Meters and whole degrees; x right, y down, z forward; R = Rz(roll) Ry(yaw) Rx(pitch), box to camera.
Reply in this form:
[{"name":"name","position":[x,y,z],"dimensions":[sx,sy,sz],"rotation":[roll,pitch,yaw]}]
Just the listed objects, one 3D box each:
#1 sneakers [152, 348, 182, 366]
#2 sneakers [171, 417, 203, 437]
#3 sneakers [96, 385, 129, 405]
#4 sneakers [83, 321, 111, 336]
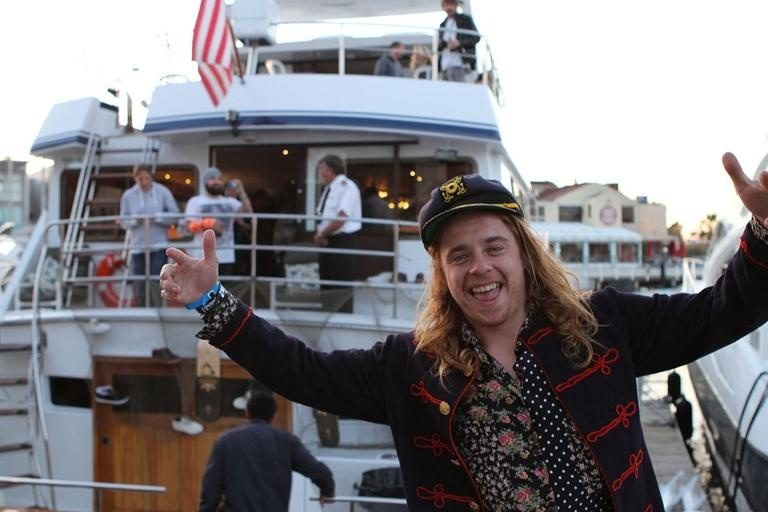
[{"name":"sneakers","position":[-2.562,1.169,12.139],"dimensions":[0.304,0.159,0.173],"rotation":[10,13,12]},{"name":"sneakers","position":[-2.278,1.963,11.952],"dimensions":[0.336,0.195,0.150],"rotation":[13,-14,11]},{"name":"sneakers","position":[-3.214,1.616,12.201],"dimensions":[0.396,0.222,0.211],"rotation":[2,23,8]},{"name":"sneakers","position":[-3.399,0.832,12.203],"dimensions":[0.242,0.172,0.169],"rotation":[-5,-2,-7]}]
